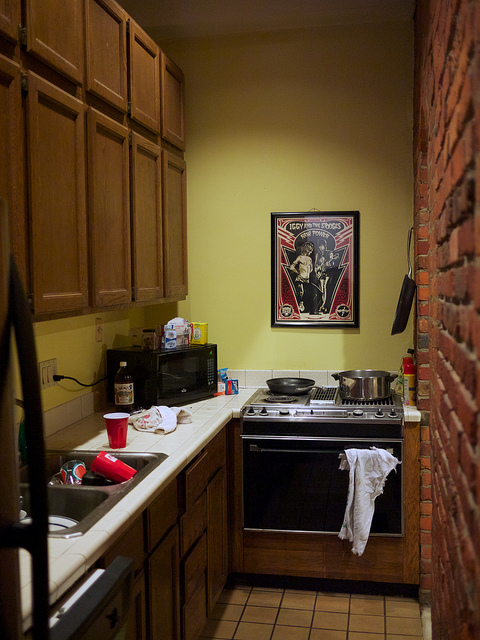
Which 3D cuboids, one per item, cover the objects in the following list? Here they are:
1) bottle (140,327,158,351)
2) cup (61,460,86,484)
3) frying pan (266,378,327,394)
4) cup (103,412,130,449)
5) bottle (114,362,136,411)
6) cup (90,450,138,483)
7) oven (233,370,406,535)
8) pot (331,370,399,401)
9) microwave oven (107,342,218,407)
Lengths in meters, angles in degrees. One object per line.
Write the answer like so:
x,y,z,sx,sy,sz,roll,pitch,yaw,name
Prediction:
-0.488,0.115,2.808,0.101,0.171,0.097,0,1,0,bottle
-0.599,0.553,1.772,0.055,0.076,0.070,-7,-16,-19,cup
0.309,0.399,3.006,0.150,0.048,0.224,-3,5,-44,frying pan
-0.489,0.443,2.004,0.104,0.143,0.117,0,-2,-5,cup
-0.563,0.328,2.408,0.079,0.271,0.183,-1,4,-3,bottle
-0.430,0.511,1.715,0.153,0.097,0.056,0,4,13,cup
0.477,0.728,2.949,0.880,1.086,0.677,0,23,11,oven
0.735,0.336,2.902,0.284,0.174,0.311,3,7,0,pot
-0.400,0.322,2.870,0.323,0.351,0.502,0,3,36,microwave oven
